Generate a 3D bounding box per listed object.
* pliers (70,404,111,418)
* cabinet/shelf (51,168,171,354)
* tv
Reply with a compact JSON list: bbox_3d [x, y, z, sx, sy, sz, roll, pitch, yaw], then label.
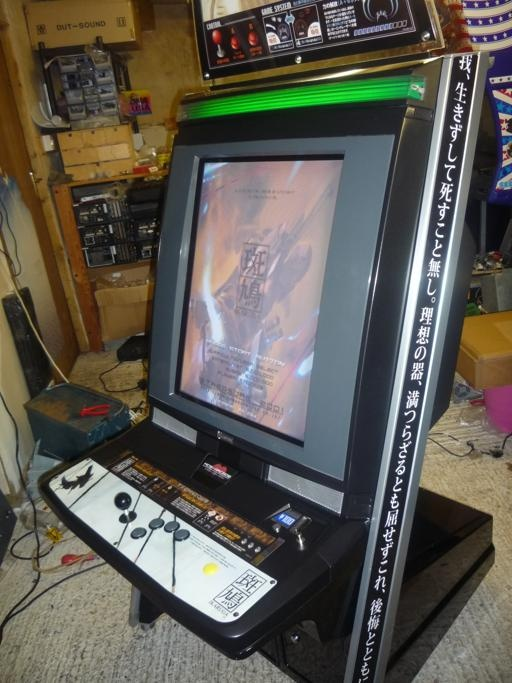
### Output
[{"bbox_3d":[-0.637,0.278,1.947,0.129,0.030,0.090,-7,25,-12],"label":"pliers"},{"bbox_3d":[-1.079,-0.587,3.708,1.100,1.172,0.283,-7,10,-16],"label":"cabinet/shelf"},{"bbox_3d":[0.027,-0.046,0.668,0.063,0.486,0.441,-3,19,-45],"label":"tv"}]
